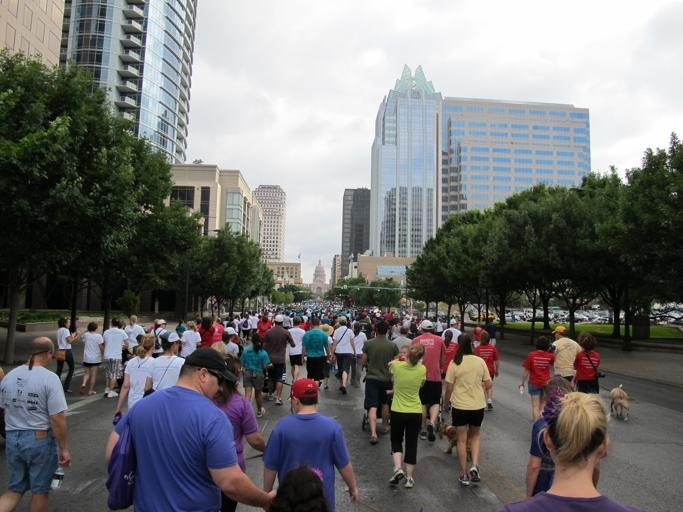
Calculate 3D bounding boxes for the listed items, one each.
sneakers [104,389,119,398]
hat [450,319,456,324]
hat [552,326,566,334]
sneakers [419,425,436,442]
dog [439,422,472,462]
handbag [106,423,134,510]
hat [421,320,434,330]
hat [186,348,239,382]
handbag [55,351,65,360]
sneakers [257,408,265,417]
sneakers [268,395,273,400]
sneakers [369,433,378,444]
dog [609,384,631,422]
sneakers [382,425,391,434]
[{"bbox_3d":[-6.212,3.759,16.186,0.189,0.228,0.493,2,-3,29],"label":"sneakers"},{"bbox_3d":[2.862,1.678,15.140,0.114,0.092,0.165,0,-10,10],"label":"hat"},{"bbox_3d":[4.860,1.665,13.348,0.247,0.206,0.363,5,-3,-15],"label":"hat"},{"bbox_3d":[1.754,3.560,11.896,0.202,0.284,0.613,1,-7,7],"label":"sneakers"},{"bbox_3d":[2.220,3.502,11.264,0.730,0.523,0.224,-2,-11,36],"label":"dog"},{"bbox_3d":[-2.418,2.331,6.495,0.318,0.934,0.269,1,-5,-6],"label":"handbag"},{"bbox_3d":[1.841,1.487,12.778,0.176,0.153,0.269,1,4,8],"label":"hat"},{"bbox_3d":[-1.469,1.212,6.784,0.484,0.284,0.326,19,-9,-17],"label":"hat"},{"bbox_3d":[-7.870,2.786,16.521,0.260,0.306,0.281,2,-4,1],"label":"handbag"},{"bbox_3d":[-1.863,3.649,13.759,0.088,0.122,0.264,3,10,6],"label":"sneakers"},{"bbox_3d":[-1.864,3.768,15.688,0.064,0.094,0.207,2,2,3],"label":"sneakers"},{"bbox_3d":[0.641,3.679,11.886,0.126,0.151,0.373,-1,-16,4],"label":"sneakers"},{"bbox_3d":[6.828,3.567,14.665,0.268,0.669,1.150,5,9,16],"label":"dog"},{"bbox_3d":[0.975,3.729,12.745,0.085,0.115,0.253,1,3,10],"label":"sneakers"}]
